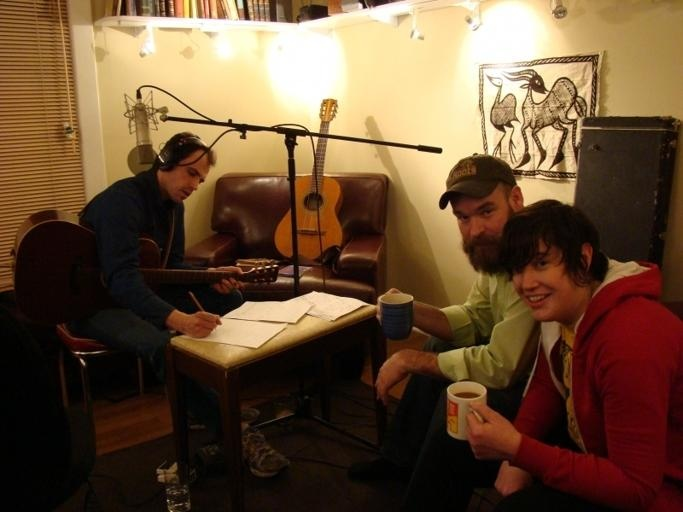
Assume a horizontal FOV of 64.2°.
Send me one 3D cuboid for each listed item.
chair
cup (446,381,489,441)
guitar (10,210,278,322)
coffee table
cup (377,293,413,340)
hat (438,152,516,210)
[{"bbox_3d":[-0.399,0.129,3.828,1.351,1.358,0.881,3,8,14],"label":"chair"},{"bbox_3d":[0.357,0.477,1.635,0.110,0.136,0.181,0,15,5],"label":"cup"},{"bbox_3d":[-1.055,0.056,2.691,0.910,0.552,0.399,-4,16,-12],"label":"guitar"},{"bbox_3d":[-0.304,0.683,2.444,0.754,0.602,0.398,-20,17,-40],"label":"coffee table"},{"bbox_3d":[0.203,0.233,2.096,0.131,0.144,0.168,-3,7,-2],"label":"cup"},{"bbox_3d":[0.539,-0.295,2.151,0.266,0.170,0.193,-16,4,-34],"label":"hat"}]
